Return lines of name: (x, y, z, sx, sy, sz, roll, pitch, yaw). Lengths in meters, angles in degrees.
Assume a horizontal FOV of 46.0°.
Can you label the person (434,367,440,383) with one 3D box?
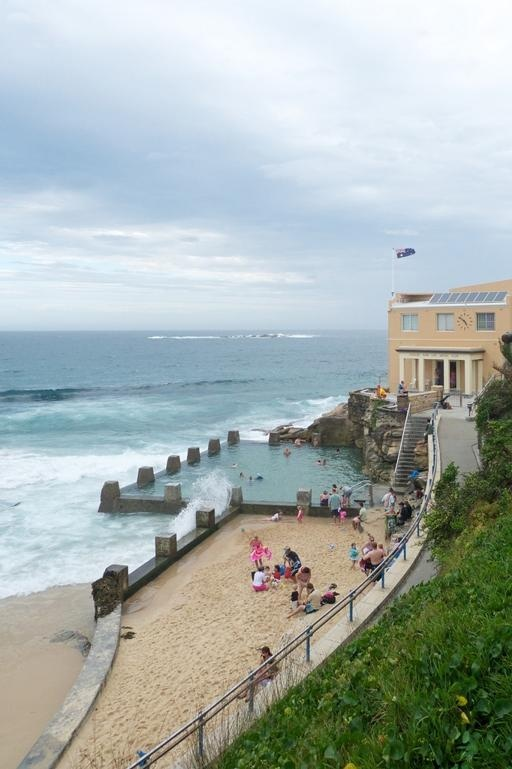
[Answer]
person: (10.462, -0.505, 34.746, 0.363, 0.760, 0.229, -11, 3, -30)
